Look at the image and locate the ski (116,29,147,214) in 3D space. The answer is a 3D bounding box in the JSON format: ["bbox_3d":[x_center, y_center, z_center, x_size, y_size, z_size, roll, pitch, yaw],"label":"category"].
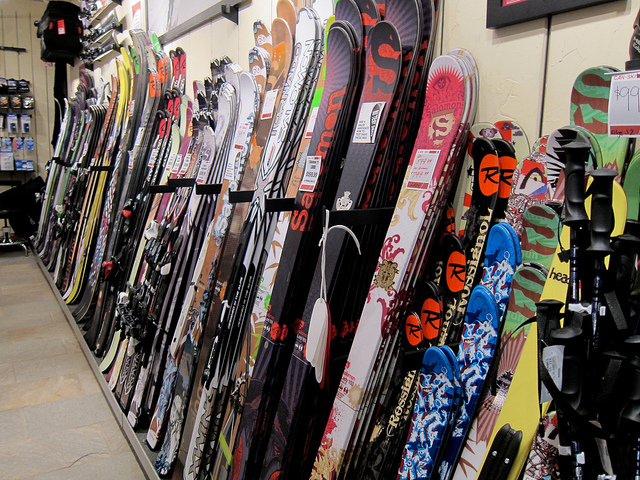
[{"bbox_3d":[-1.332,-0.920,3.871,0.134,1.444,0.121,13,-7,-43],"label":"ski"}]

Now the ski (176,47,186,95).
[{"bbox_3d":[-0.931,-1.147,3.519,0.062,0.335,0.051,9,13,36],"label":"ski"}]

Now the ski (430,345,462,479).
[{"bbox_3d":[0.374,0.522,1.539,0.034,0.392,0.034,12,-1,-28],"label":"ski"}]

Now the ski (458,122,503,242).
[{"bbox_3d":[0.507,-0.249,1.696,0.069,0.593,0.074,10,4,41],"label":"ski"}]

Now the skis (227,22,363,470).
[{"bbox_3d":[-0.088,0.069,2.011,0.179,1.927,0.094,10,-3,43],"label":"skis"}]

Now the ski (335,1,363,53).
[{"bbox_3d":[0.121,-0.788,1.974,0.067,0.262,0.030,0,11,41],"label":"ski"}]

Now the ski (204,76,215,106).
[{"bbox_3d":[-0.652,-0.852,3.065,0.047,0.227,0.028,1,5,28],"label":"ski"}]

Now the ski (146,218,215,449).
[{"bbox_3d":[-0.691,0.492,2.590,0.077,1.181,0.112,20,-17,-27],"label":"ski"}]

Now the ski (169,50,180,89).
[{"bbox_3d":[-1.004,-1.185,3.590,0.063,0.338,0.052,5,1,23],"label":"ski"}]

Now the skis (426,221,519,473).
[{"bbox_3d":[0.459,0.331,1.538,0.076,0.751,0.034,14,0,43],"label":"skis"}]

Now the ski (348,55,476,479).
[{"bbox_3d":[0.313,0.107,1.686,0.068,1.489,0.134,20,-6,-6],"label":"ski"}]

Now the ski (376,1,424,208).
[{"bbox_3d":[0.276,-0.446,1.770,0.063,0.725,0.064,11,-2,-24],"label":"ski"}]

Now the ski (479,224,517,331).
[{"bbox_3d":[0.518,0.116,1.518,0.083,0.338,0.045,9,-30,11],"label":"ski"}]

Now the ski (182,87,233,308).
[{"bbox_3d":[-0.571,-0.185,2.640,0.152,1.238,0.118,18,-15,-28],"label":"ski"}]

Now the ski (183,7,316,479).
[{"bbox_3d":[-0.299,0.059,2.251,0.106,2.368,0.211,13,-7,-31],"label":"ski"}]

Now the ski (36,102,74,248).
[{"bbox_3d":[-3.212,-0.793,6.259,0.119,2.277,0.204,18,7,33],"label":"ski"}]

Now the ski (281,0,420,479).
[{"bbox_3d":[0.119,0.052,1.828,0.079,1.831,0.164,12,1,-12],"label":"ski"}]

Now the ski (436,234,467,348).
[{"bbox_3d":[0.452,0.156,1.716,0.055,0.399,0.091,15,-8,-39],"label":"ski"}]

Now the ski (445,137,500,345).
[{"bbox_3d":[0.460,-0.063,1.586,0.071,0.703,0.053,-7,-46,40],"label":"ski"}]

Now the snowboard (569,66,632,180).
[{"bbox_3d":[0.755,-0.317,1.394,0.048,0.280,0.167,-5,13,-28],"label":"snowboard"}]

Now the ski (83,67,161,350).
[{"bbox_3d":[-1.388,-0.182,3.652,0.160,2.301,0.201,12,-5,-30],"label":"ski"}]

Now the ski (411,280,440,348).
[{"bbox_3d":[0.355,0.233,1.722,0.030,0.257,0.062,-4,8,-45],"label":"ski"}]

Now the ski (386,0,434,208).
[{"bbox_3d":[0.305,-0.468,1.745,0.067,0.717,0.066,5,7,-38],"label":"ski"}]

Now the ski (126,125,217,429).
[{"bbox_3d":[-0.792,0.232,2.788,0.201,1.758,0.171,13,-2,-28],"label":"ski"}]

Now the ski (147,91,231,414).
[{"bbox_3d":[-0.674,0.102,2.686,0.162,1.856,0.179,15,-3,-30],"label":"ski"}]

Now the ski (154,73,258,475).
[{"bbox_3d":[-0.543,0.206,2.495,0.099,2.095,0.190,15,-12,-29],"label":"ski"}]

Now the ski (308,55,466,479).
[{"bbox_3d":[0.239,0.126,1.733,0.131,1.574,0.078,19,8,40],"label":"ski"}]

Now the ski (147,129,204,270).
[{"bbox_3d":[-0.818,-0.211,2.956,0.099,0.882,0.108,8,-5,31],"label":"ski"}]

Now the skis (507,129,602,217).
[{"bbox_3d":[0.632,-0.189,1.483,0.054,0.321,0.152,-5,22,-33],"label":"skis"}]

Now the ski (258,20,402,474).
[{"bbox_3d":[0.049,0.070,1.884,0.148,1.833,0.082,15,2,28],"label":"ski"}]

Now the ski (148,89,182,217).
[{"bbox_3d":[-0.982,-0.528,3.287,0.082,0.914,0.120,5,-10,35],"label":"ski"}]

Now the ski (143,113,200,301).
[{"bbox_3d":[-0.853,-0.166,2.989,0.090,1.195,0.113,19,-12,-38],"label":"ski"}]

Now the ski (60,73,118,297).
[{"bbox_3d":[-2.032,-0.444,4.558,0.115,2.395,0.220,16,-15,-31],"label":"ski"}]

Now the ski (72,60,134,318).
[{"bbox_3d":[-1.746,-0.364,4.164,0.160,2.529,0.233,13,-8,-30],"label":"ski"}]

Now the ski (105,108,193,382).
[{"bbox_3d":[-1.025,0.058,3.133,0.085,1.863,0.172,15,-13,-18],"label":"ski"}]

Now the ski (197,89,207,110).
[{"bbox_3d":[-0.710,-0.813,3.127,0.037,0.188,0.029,2,17,26],"label":"ski"}]

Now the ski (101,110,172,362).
[{"bbox_3d":[-1.169,0.000,3.323,0.108,1.806,0.172,16,-16,-15],"label":"ski"}]

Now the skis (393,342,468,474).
[{"bbox_3d":[0.330,0.507,1.550,0.122,0.533,0.065,15,3,40],"label":"skis"}]

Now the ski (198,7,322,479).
[{"bbox_3d":[-0.247,0.063,2.189,0.142,2.247,0.204,16,-8,-17],"label":"ski"}]

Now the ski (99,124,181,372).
[{"bbox_3d":[-1.118,0.071,3.239,0.113,1.755,0.163,17,-22,-19],"label":"ski"}]

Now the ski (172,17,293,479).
[{"bbox_3d":[-0.392,0.081,2.355,0.148,2.407,0.230,13,-14,-16],"label":"ski"}]
